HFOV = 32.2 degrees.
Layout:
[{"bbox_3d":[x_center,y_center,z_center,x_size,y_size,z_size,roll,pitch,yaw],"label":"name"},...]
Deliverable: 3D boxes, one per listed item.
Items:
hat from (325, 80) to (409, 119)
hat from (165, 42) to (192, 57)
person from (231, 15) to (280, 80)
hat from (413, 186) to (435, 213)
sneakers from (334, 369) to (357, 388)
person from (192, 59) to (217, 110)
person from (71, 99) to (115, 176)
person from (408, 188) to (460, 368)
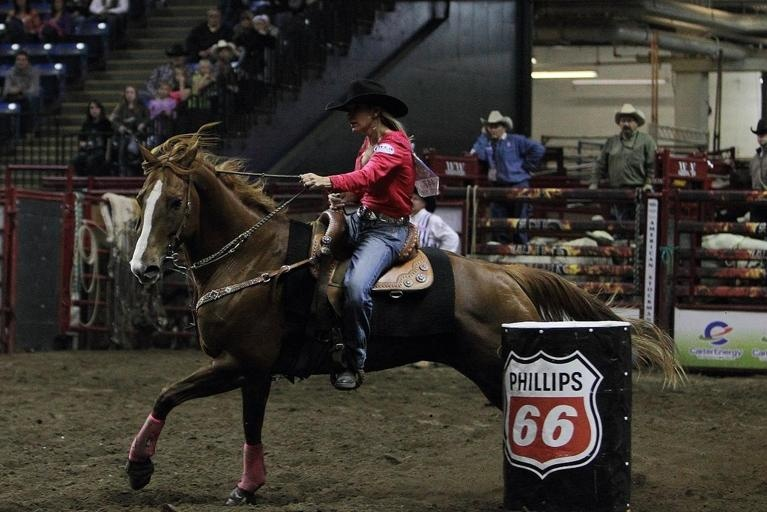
[{"bbox_3d":[-0.172,-2.349,18.972,0.828,0.322,0.680,4,-5,-13],"label":"hat"},{"bbox_3d":[-4.792,-4.687,30.215,0.571,0.159,0.527,-23,36,-29],"label":"hat"},{"bbox_3d":[-2.818,-4.641,29.427,0.901,1.436,0.511,0,0,-6],"label":"person"},{"bbox_3d":[0.753,-0.920,22.458,0.393,0.357,0.291,-2,0,26],"label":"hat"},{"bbox_3d":[-0.522,1.726,18.765,0.214,0.151,0.339,4,3,17],"label":"sneakers"},{"bbox_3d":[-4.012,-3.773,29.324,0.557,1.109,0.610,0,1,-6],"label":"person"},{"bbox_3d":[-6.364,-2.601,29.077,0.919,1.674,0.710,1,1,2],"label":"person"},{"bbox_3d":[0.874,-0.282,22.660,0.418,1.738,0.929,0,3,-35],"label":"person"}]
